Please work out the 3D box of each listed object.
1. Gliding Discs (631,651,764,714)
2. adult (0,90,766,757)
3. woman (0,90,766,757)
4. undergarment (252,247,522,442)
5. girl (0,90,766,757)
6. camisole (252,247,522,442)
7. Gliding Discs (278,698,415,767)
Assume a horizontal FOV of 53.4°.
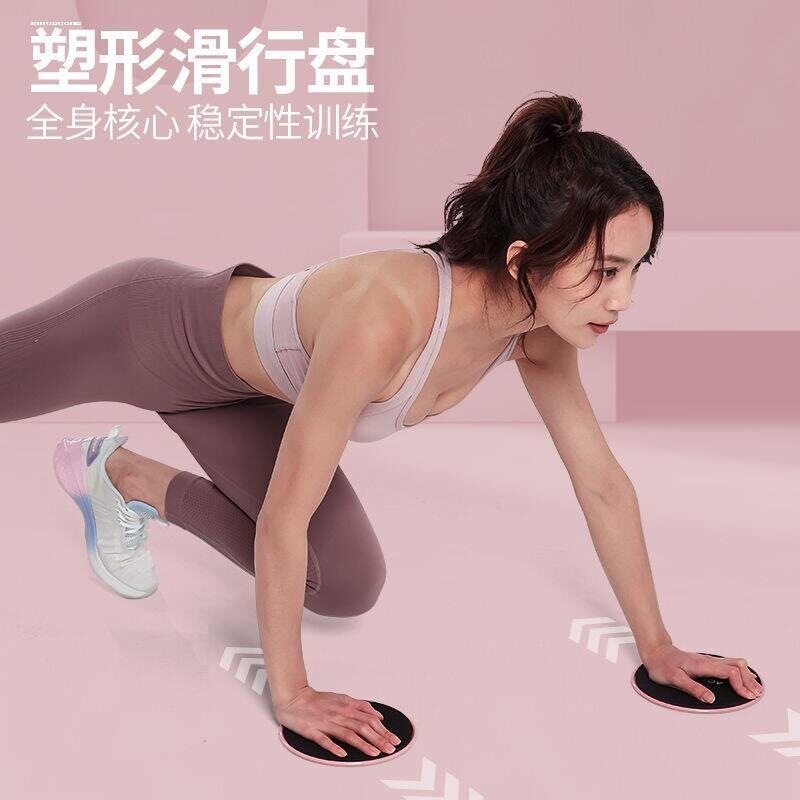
[{"bbox_3d":[0.415,0.426,1.160,0.171,0.021,0.105,6,10,38],"label":"Gliding Discs"},{"bbox_3d":[-0.098,0.015,1.218,1.180,0.855,0.536,4,10,29],"label":"adult"},{"bbox_3d":[-0.098,0.015,1.218,1.179,0.855,0.536,4,10,29],"label":"woman"},{"bbox_3d":[-0.042,-0.074,1.161,0.371,0.290,0.190,3,10,21],"label":"undergarment"},{"bbox_3d":[-0.098,0.015,1.218,1.180,0.855,0.536,4,10,29],"label":"girl"},{"bbox_3d":[-0.042,-0.074,1.161,0.371,0.290,0.191,3,10,21],"label":"camisole"},{"bbox_3d":[-0.064,0.442,1.030,0.171,0.020,0.107,-2,8,-13],"label":"Gliding Discs"}]
